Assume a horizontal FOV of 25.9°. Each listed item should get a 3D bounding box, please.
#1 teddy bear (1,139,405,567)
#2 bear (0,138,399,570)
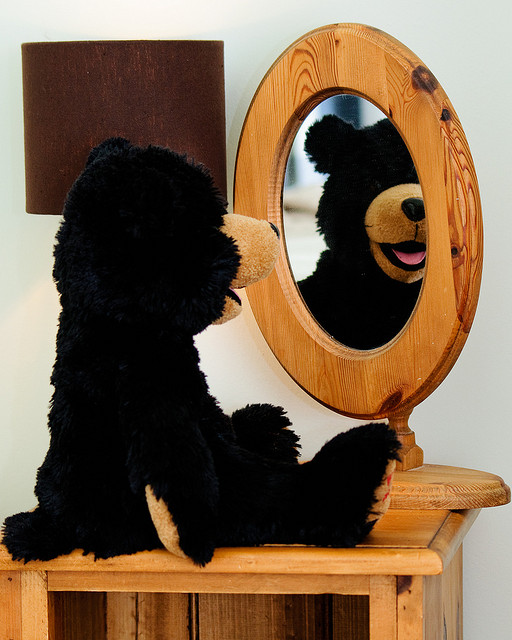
[{"bbox_3d":[-0.071,-0.008,1.449,0.499,0.525,0.467,-11,11,-32],"label":"teddy bear"},{"bbox_3d":[-0.093,-0.008,1.432,0.506,0.558,0.447,-10,14,-29],"label":"bear"}]
